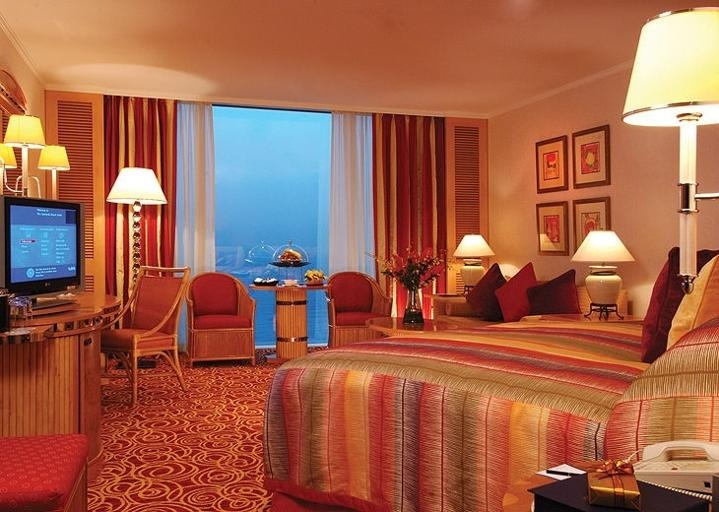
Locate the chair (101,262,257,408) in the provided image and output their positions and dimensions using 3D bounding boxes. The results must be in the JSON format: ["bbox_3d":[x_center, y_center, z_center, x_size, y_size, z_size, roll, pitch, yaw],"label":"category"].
[{"bbox_3d":[-1.935,0.689,5.076,0.598,1.130,0.629,2,4,33],"label":"chair"}]

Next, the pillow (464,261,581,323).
[{"bbox_3d":[1.561,0.391,5.579,1.086,0.594,0.625,1,3,24],"label":"pillow"}]

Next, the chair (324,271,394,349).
[{"bbox_3d":[-0.049,0.720,6.784,0.772,0.997,0.685,0,0,-20],"label":"chair"}]

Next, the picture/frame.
[{"bbox_3d":[2.407,-0.705,6.542,0.197,1.416,1.063,-1,3,-19],"label":"picture/frame"}]

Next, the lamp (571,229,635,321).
[{"bbox_3d":[2.335,0.170,5.504,0.591,0.820,0.596,-1,2,18],"label":"lamp"}]

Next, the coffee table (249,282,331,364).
[{"bbox_3d":[-0.785,0.788,6.662,1.152,0.914,1.138,1,-5,-29],"label":"coffee table"}]

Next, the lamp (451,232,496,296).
[{"bbox_3d":[1.448,0.108,7.269,0.653,0.760,0.669,1,-4,-27],"label":"lamp"}]

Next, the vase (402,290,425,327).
[{"bbox_3d":[0.497,0.458,5.272,0.177,0.364,0.160,-8,20,-14],"label":"vase"}]

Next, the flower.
[{"bbox_3d":[0.527,0.178,5.411,0.555,0.359,0.590,14,4,36],"label":"flower"}]
